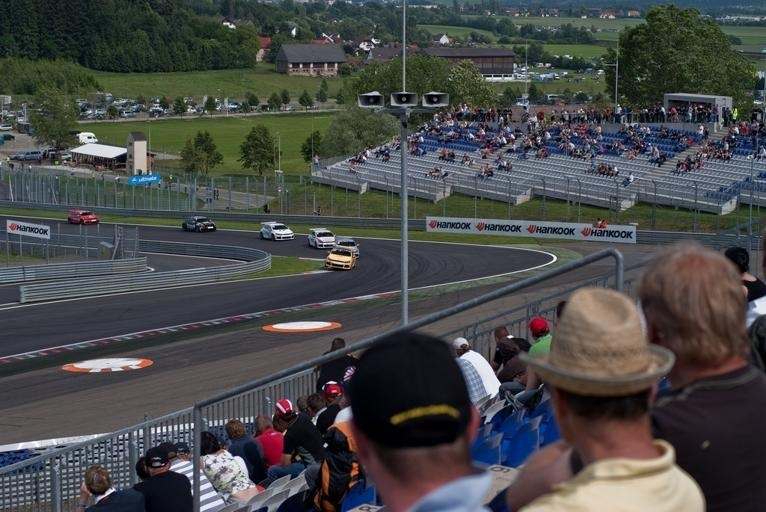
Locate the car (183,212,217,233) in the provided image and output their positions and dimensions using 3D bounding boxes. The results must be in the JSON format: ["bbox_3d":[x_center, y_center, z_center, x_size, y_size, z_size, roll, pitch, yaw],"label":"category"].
[{"bbox_3d":[-15.949,-2.748,110.270,2.376,0.881,1.615,1,5,41],"label":"car"}]

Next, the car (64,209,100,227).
[{"bbox_3d":[-27.043,-3.427,113.776,2.470,0.947,1.455,0,5,30],"label":"car"}]
